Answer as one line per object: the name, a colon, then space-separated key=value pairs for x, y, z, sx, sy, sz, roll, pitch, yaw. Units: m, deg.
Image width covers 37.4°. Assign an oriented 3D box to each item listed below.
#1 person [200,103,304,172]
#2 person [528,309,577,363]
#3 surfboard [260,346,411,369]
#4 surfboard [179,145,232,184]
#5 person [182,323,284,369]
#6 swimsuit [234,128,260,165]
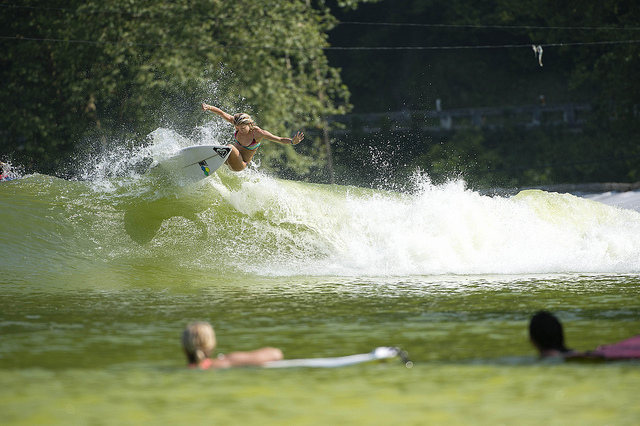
person: x=-1.854 y=-2.033 z=25.128 sx=2.180 sy=1.130 sz=1.082 roll=31 pitch=1 yaw=9
person: x=3.699 y=2.003 z=15.271 sx=0.602 sy=0.845 sz=0.329 roll=-5 pitch=-1 yaw=12
surfboard: x=0.283 y=2.400 z=15.593 sx=2.381 sy=0.301 sz=0.343 roll=-4 pitch=-1 yaw=0
surfboard: x=-2.563 y=-1.073 z=20.909 sx=1.291 sy=0.726 sz=0.474 roll=-5 pitch=0 yaw=43
person: x=-1.511 y=2.097 z=15.493 sx=0.892 sy=0.440 sz=1.218 roll=-8 pitch=-8 yaw=41
swimsuit: x=-1.604 y=-1.560 z=20.660 sx=0.489 sy=0.619 sz=0.346 roll=-5 pitch=-1 yaw=-3
